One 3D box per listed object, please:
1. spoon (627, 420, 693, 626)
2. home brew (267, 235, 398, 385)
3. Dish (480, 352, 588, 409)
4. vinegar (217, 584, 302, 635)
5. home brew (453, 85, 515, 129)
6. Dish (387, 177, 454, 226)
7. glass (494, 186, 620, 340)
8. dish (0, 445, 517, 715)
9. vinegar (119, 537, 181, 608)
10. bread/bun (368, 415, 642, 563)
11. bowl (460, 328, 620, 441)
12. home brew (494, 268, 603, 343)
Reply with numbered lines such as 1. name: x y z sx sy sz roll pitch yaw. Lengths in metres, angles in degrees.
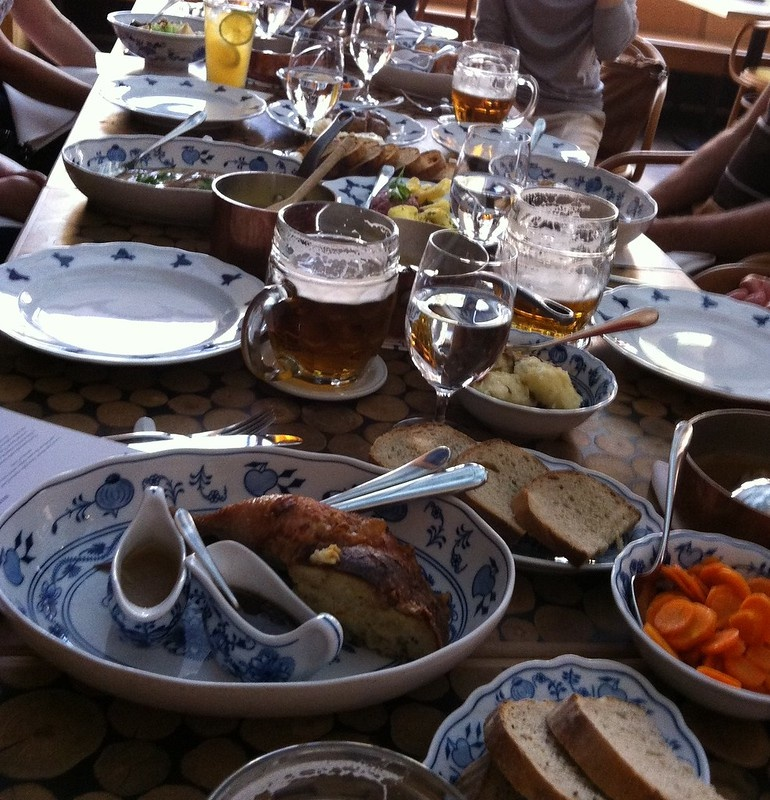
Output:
1. spoon: 0.263 0.092 0.703 0.044 0.215 0.030 6 38 13
2. home brew: -0.063 -0.103 0.803 0.118 0.107 0.152 14 32 9
3. Dish: 0.159 -0.031 0.815 0.076 0.026 0.078 8 14 -2
4. vinegar: -0.079 0.134 0.495 0.038 0.023 0.022 26 38 24
5. home brew: 0.221 -0.657 1.720 0.115 0.083 0.113 -2 32 -8
6. Dish: 0.051 -0.295 1.143 0.139 0.045 0.125 4 34 -2
7. glass: 0.220 -0.180 1.020 0.163 0.161 0.146 -5 33 -18
8. dish: -0.085 0.112 0.521 0.317 0.073 0.250 -8 33 -31
9. vinegar: -0.157 0.114 0.517 0.033 0.018 0.044 19 32 12
10. bread/bun: 0.106 0.083 0.704 0.198 0.048 0.118 37 23 27
11. bowl: 0.179 -0.039 0.805 0.144 0.049 0.128 1 32 -1
12. home brew: 0.203 -0.129 0.992 0.157 0.092 0.166 5 10 3
